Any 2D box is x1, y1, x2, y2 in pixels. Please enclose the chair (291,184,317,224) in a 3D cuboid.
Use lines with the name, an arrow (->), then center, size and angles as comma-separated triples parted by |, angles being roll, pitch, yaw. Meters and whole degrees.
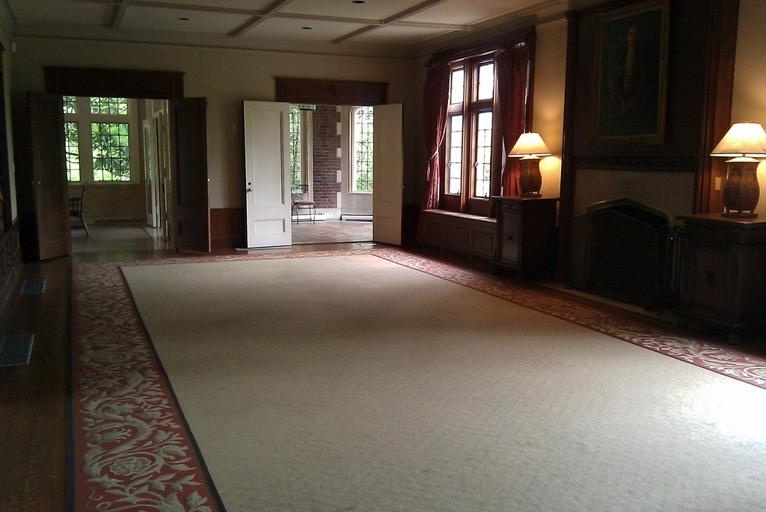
chair -> -2.339, -1.590, 15.111 | 0.710, 1.022, 0.715 | -2, 13, -10

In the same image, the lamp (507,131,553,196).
lamp -> 2.184, -1.369, 7.597 | 0.558, 0.917, 0.517 | 4, 14, 18

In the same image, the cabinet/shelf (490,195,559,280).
cabinet/shelf -> 2.172, -0.316, 7.804 | 0.861, 1.119, 0.978 | 0, 8, -10

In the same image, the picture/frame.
picture/frame -> 3.071, -2.241, 6.340 | 0.234, 1.618, 1.120 | -4, 14, -18

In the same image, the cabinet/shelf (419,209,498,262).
cabinet/shelf -> 1.449, -0.422, 9.356 | 0.367, 0.645, 1.820 | -14, 19, -37
